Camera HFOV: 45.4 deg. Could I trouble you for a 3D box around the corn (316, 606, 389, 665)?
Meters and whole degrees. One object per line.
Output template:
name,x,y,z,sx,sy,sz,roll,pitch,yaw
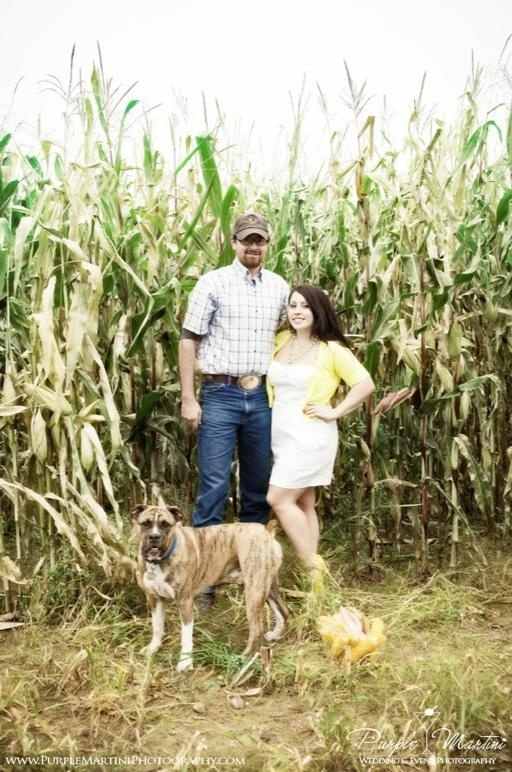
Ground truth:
corn,0.404,1.011,2.445,0.288,0.195,0.339,2,-4,-6

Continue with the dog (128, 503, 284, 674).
dog,-0.162,0.821,2.527,0.701,0.665,0.348,3,-4,-24

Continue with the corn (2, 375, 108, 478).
corn,-0.893,0.166,2.775,0.365,0.468,0.225,3,-2,-34

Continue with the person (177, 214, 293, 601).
person,-0.124,0.172,3.363,0.603,2.047,0.574,0,2,-2
